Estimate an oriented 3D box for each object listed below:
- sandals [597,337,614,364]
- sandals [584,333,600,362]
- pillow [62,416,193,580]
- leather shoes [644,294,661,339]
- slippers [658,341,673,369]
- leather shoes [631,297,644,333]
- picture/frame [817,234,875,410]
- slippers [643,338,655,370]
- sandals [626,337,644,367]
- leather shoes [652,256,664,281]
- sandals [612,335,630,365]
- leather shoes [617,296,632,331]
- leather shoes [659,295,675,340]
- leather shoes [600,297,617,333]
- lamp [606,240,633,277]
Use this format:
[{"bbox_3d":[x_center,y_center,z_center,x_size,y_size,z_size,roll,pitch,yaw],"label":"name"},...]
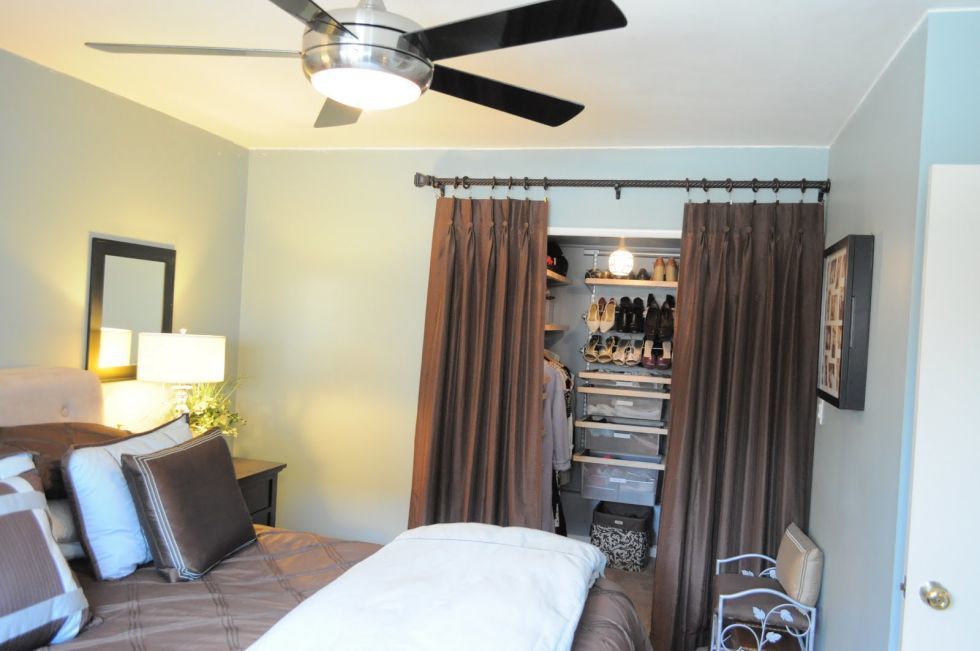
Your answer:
[{"bbox_3d":[0.899,0.183,5.390,0.082,0.245,0.035,2,-34,27],"label":"sandals"},{"bbox_3d":[0.797,0.148,5.405,0.088,0.249,0.068,6,-22,26],"label":"sandals"},{"bbox_3d":[-1.705,0.820,3.279,0.167,0.542,0.576,-13,-7,19],"label":"pillow"},{"bbox_3d":[1.254,-0.079,5.303,0.105,0.311,0.134,2,-14,23],"label":"leather shoes"},{"bbox_3d":[1.327,0.210,5.294,0.074,0.196,0.153,1,5,20],"label":"slippers"},{"bbox_3d":[1.138,-0.078,5.448,0.089,0.272,0.108,-2,-17,13],"label":"leather shoes"},{"bbox_3d":[1.825,-0.018,3.621,0.219,0.869,0.653,1,5,25],"label":"picture/frame"},{"bbox_3d":[1.183,0.207,5.275,0.071,0.211,0.030,0,-10,25],"label":"slippers"},{"bbox_3d":[1.102,0.204,5.323,0.085,0.239,0.065,2,-29,28],"label":"sandals"},{"bbox_3d":[1.267,-0.427,5.278,0.085,0.172,0.165,0,4,13],"label":"leather shoes"},{"bbox_3d":[1.002,0.170,5.376,0.087,0.255,0.045,-11,-51,28],"label":"sandals"},{"bbox_3d":[1.041,-0.101,5.421,0.093,0.260,0.085,2,0,23],"label":"leather shoes"},{"bbox_3d":[1.335,-0.059,5.303,0.094,0.305,0.166,0,5,17],"label":"leather shoes"},{"bbox_3d":[0.920,-0.100,5.433,0.097,0.286,0.078,4,-29,18],"label":"leather shoes"},{"bbox_3d":[0.962,-0.488,5.144,0.147,0.269,0.429,0,4,13],"label":"lamp"}]
